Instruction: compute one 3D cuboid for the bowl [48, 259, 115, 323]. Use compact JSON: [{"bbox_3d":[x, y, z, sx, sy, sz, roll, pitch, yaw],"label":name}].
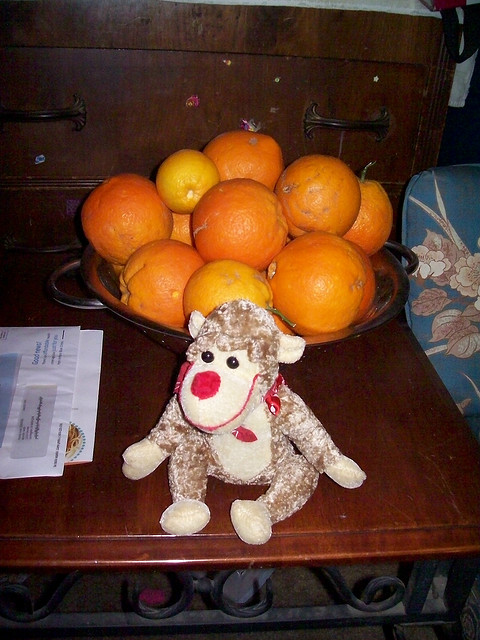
[{"bbox_3d":[-0.203,-0.043,0.825,0.046,0.099,0.092,-14,66,-2],"label":"bowl"}]
